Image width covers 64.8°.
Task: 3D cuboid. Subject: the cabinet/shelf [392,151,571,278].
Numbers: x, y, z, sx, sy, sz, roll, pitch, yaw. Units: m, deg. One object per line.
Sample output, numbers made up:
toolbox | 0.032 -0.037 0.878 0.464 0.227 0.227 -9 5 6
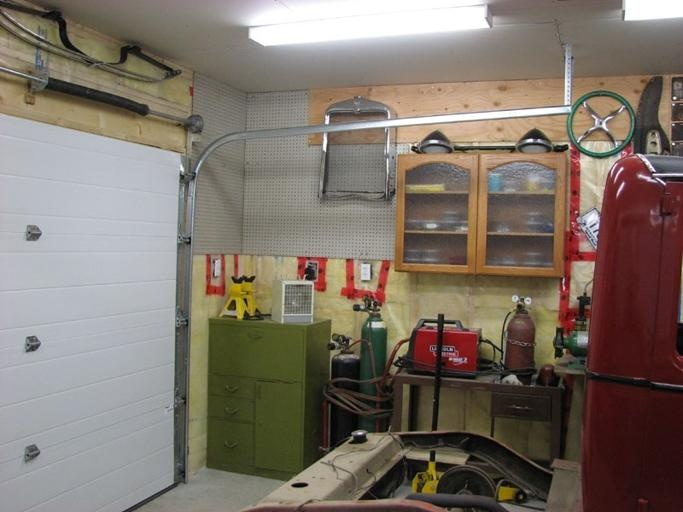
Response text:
cabinet/shelf | 1.227 -0.367 4.517 1.151 0.796 0.364 1 1 11

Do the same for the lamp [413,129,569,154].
lamp | 1.245 -0.965 4.643 1.287 0.240 0.378 1 -1 12

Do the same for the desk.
desk | 1.081 1.235 4.109 0.917 0.805 0.380 0 -3 22

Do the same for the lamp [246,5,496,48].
lamp | 0.164 -1.595 3.755 1.684 0.121 0.274 1 -1 17
